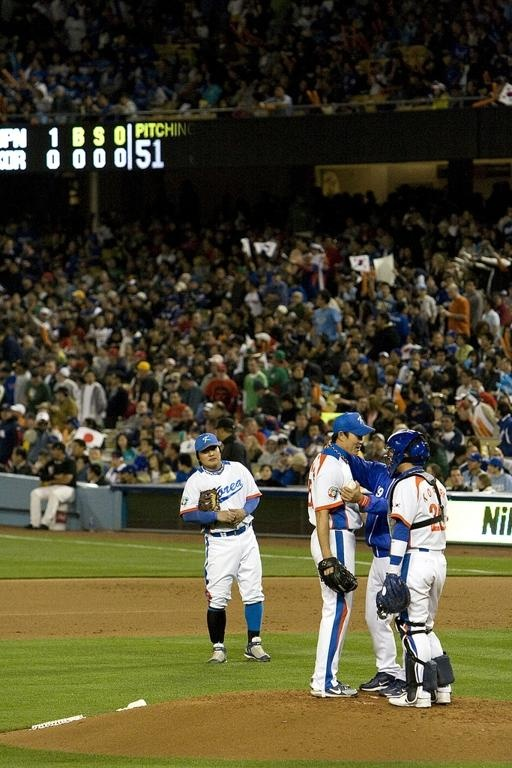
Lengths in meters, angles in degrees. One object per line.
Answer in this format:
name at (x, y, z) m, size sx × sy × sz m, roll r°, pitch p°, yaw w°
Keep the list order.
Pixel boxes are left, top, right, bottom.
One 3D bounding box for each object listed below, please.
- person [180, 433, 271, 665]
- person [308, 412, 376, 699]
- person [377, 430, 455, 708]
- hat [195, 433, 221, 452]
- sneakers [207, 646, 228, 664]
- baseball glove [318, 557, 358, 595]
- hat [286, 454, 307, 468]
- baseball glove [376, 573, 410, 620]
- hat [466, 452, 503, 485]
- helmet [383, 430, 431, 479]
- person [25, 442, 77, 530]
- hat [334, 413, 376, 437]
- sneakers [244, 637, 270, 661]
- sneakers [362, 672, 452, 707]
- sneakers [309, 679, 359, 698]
person at (-0.209, 1.137, 9.813) m, size 0.618 × 1.586 × 0.441 m, roll 0°, pitch 3°, yaw -1°
person at (0.502, 1.018, 8.443) m, size 0.364 × 1.679 × 0.531 m, roll 0°, pitch 3°, yaw 3°
person at (0.926, 1.067, 8.151) m, size 0.429 × 1.586 × 0.488 m, roll 1°, pitch 3°, yaw 6°
hat at (-0.350, 0.406, 9.775) m, size 0.150 × 0.128 × 0.252 m, roll -9°, pitch -5°, yaw -7°
sneakers at (-0.266, 1.865, 9.779) m, size 0.115 × 0.119 × 0.167 m, roll 1°, pitch 2°, yaw 3°
baseball glove at (0.478, 1.116, 8.262) m, size 0.096 × 0.176 × 0.223 m, roll -17°, pitch 32°, yaw -30°
hat at (0.549, 1.007, 18.385) m, size 0.124 × 0.219 × 0.348 m, roll -1°, pitch 3°, yaw -27°
baseball glove at (0.786, 1.189, 7.988) m, size 0.171 × 0.245 × 0.094 m, roll -23°, pitch -14°, yaw 34°
hat at (2.710, 0.996, 17.247) m, size 0.266 × 0.249 × 0.452 m, roll -6°, pitch 16°, yaw 34°
helmet at (0.936, 0.404, 8.315) m, size 0.254 × 0.280 × 0.206 m, roll 12°, pitch 5°, yaw 27°
person at (-2.796, 1.489, 19.300) m, size 0.506 × 1.047 × 0.670 m, roll -2°, pitch 3°, yaw -37°
hat at (0.590, 0.248, 8.558) m, size 0.195 × 0.129 × 0.136 m, roll -5°, pitch 2°, yaw 19°
sneakers at (0.018, 1.853, 9.858) m, size 0.090 × 0.170 × 0.250 m, roll 1°, pitch -6°, yaw -28°
sneakers at (0.858, 1.794, 8.289) m, size 0.528 × 0.224 × 0.183 m, roll 7°, pitch 4°, yaw 43°
sneakers at (0.463, 1.784, 8.325) m, size 0.279 × 0.148 × 0.105 m, roll -1°, pitch 2°, yaw -4°
